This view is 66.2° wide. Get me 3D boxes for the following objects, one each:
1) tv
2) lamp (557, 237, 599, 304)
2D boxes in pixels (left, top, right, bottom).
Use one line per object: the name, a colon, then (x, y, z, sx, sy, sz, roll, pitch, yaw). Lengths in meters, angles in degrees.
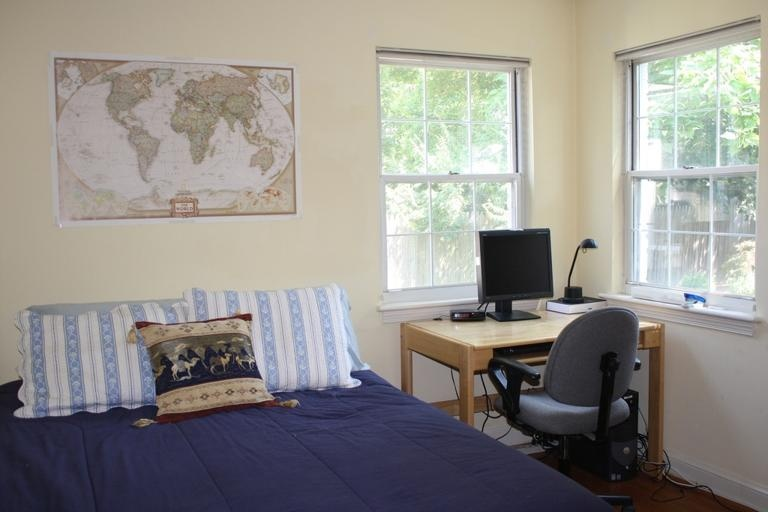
tv: (0.899, 0.130, 4.092, 0.693, 0.709, 0.300, -1, -1, -19)
lamp: (1.404, 0.095, 4.287, 0.254, 0.454, 0.476, -2, 5, 18)
